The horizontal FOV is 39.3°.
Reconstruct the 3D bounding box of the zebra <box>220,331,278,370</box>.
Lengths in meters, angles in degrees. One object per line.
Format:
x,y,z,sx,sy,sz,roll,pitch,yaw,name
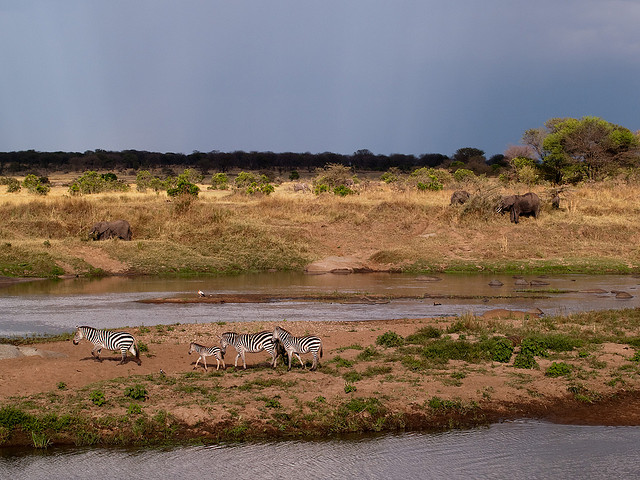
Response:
-2.188,3.422,28.047,1.889,1.252,0.548,-7,0,10,zebra

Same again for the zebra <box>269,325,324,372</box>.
-0.779,3.572,28.709,1.198,1.086,0.414,1,13,16,zebra

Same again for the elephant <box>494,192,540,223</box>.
12.913,-2.076,58.022,2.590,1.831,1.468,1,5,14,elephant

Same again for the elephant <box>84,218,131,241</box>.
-12.561,-0.654,52.916,2.344,1.370,1.128,-1,0,0,elephant

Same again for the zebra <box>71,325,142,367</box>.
-6.670,3.399,28.614,2.054,1.225,0.939,2,5,20,zebra

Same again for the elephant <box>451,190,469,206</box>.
9.432,-2.788,60.296,1.157,0.855,1.922,0,5,6,elephant
